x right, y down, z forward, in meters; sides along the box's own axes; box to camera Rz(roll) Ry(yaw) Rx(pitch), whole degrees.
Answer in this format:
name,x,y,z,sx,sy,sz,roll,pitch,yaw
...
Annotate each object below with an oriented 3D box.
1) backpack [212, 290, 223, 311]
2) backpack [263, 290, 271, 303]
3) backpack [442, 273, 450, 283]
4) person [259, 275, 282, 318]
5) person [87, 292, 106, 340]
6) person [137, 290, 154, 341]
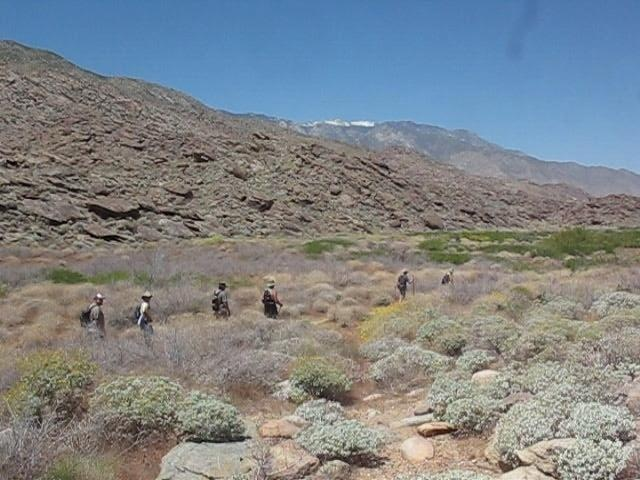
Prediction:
name,x,y,z,sx,sy,sz,roll,pitch,yaw
backpack,-3.578,2.118,21.134,0.511,0.679,0.410,3,-1,-37
backpack,-1.842,2.015,21.591,0.242,0.423,0.148,3,-7,11
backpack,5.212,1.642,25.550,0.249,0.406,0.138,19,0,22
person,-1.891,2.236,23.533,0.874,2.191,0.774,3,11,16
person,-6.636,2.295,18.349,0.542,1.255,0.434,-1,-1,17
person,-5.316,2.308,18.787,0.439,1.339,1.340,-1,-1,-17
